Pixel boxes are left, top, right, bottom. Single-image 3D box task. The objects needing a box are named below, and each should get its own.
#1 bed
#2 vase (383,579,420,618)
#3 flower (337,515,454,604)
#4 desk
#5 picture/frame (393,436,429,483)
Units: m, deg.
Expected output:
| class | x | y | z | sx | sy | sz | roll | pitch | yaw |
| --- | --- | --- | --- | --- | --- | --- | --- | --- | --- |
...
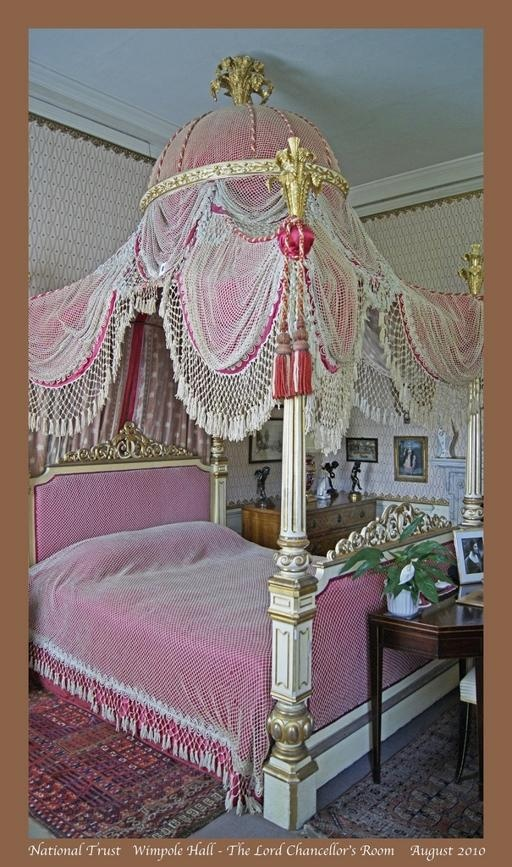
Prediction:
| class | x | y | z | sx | sy | sz | roll | pitch | yaw |
| --- | --- | --- | --- | --- | --- | --- | --- | --- | --- |
| bed | -0.431 | -0.301 | 3.237 | 1.583 | 2.312 | 1.743 | -2 | 23 | -16 |
| vase | 0.699 | 0.783 | 2.980 | 0.127 | 0.150 | 0.139 | -3 | -2 | 24 |
| flower | 0.760 | 0.634 | 3.007 | 0.362 | 0.165 | 0.356 | -5 | 19 | 43 |
| desk | 0.809 | 1.197 | 3.037 | 0.463 | 0.679 | 0.849 | -5 | -6 | 41 |
| picture/frame | 1.526 | 0.255 | 6.042 | 0.032 | 0.501 | 0.386 | -2 | 4 | -33 |
